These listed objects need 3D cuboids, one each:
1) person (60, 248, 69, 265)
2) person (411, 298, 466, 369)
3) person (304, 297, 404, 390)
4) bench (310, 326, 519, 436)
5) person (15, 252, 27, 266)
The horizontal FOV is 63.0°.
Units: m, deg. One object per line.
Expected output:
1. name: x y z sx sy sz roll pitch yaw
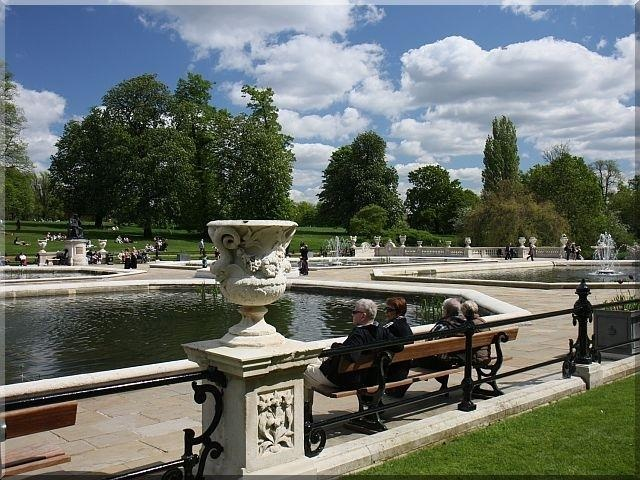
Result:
1. person: -17.117 1.172 34.958 0.452 1.045 0.847 -2 0 -40
2. person: 1.674 1.229 7.270 0.816 0.853 0.678 9 10 19
3. person: 0.369 1.204 5.844 1.101 1.012 0.577 -2 0 -3
4. bench: 1.391 1.730 6.663 3.472 0.890 0.921 2 -10 -39
5. person: -19.581 1.301 34.199 0.546 1.014 0.374 -12 -27 -10
